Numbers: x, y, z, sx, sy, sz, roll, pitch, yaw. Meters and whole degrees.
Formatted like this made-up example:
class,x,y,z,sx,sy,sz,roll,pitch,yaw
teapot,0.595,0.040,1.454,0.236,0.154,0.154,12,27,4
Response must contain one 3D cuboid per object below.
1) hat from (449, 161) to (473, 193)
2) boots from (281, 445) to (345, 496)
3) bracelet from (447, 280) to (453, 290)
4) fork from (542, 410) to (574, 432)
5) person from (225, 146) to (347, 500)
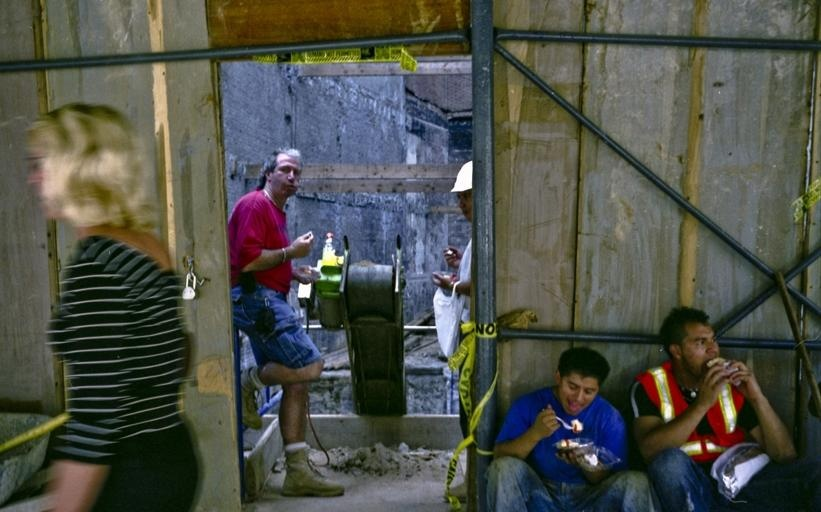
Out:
class,x,y,z,sx,sy,sz,roll,pitch,yaw
hat,0.431,-0.604,9.350,0.171,0.135,0.251,-16,17,30
boots,-0.713,1.707,9.476,0.616,0.519,0.246,1,0,-8
bracelet,0.314,0.241,9.286,0.034,0.049,0.042,9,10,27
fork,0.982,1.117,8.012,0.047,0.054,0.215,14,-23,48
person,-1.025,0.491,9.297,0.838,2.755,0.614,1,-3,-20
